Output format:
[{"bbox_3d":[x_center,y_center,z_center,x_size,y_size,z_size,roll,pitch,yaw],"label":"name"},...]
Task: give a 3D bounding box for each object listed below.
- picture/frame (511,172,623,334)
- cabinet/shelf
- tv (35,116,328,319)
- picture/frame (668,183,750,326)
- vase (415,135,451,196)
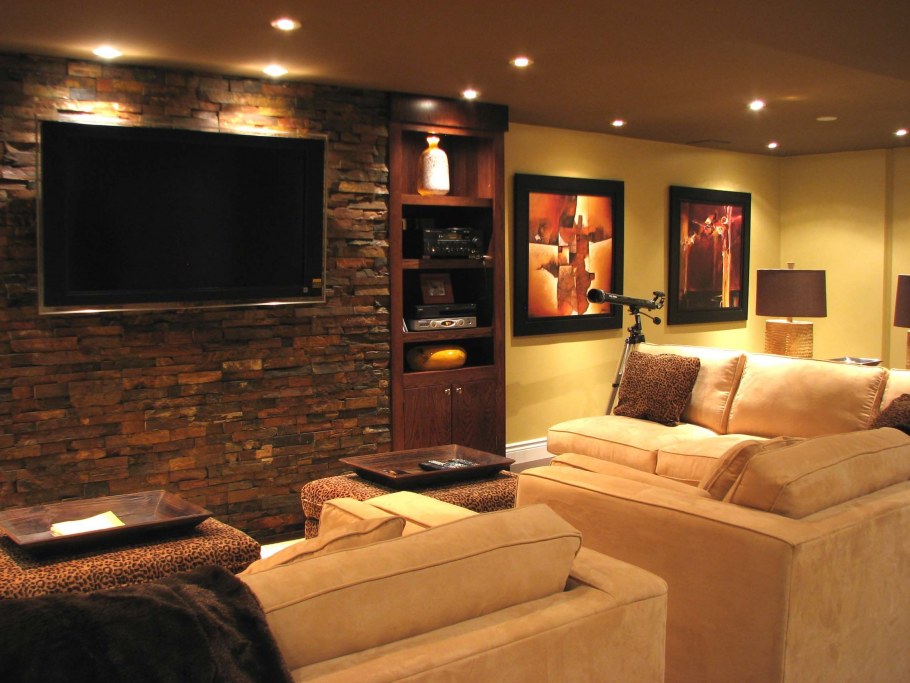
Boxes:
[{"bbox_3d":[0.990,-0.733,6.126,1.239,1.391,0.108,-2,7,-34],"label":"picture/frame"},{"bbox_3d":[-0.166,-0.500,5.357,0.989,2.709,0.631,-2,3,-26],"label":"cabinet/shelf"},{"bbox_3d":[-1.498,-0.696,4.020,1.535,1.071,0.087,-1,6,-28],"label":"tv"},{"bbox_3d":[2.559,-0.810,7.136,1.362,1.345,0.080,0,2,-35],"label":"picture/frame"},{"bbox_3d":[-0.158,-1.255,5.029,0.208,0.443,0.177,4,6,20],"label":"vase"}]
